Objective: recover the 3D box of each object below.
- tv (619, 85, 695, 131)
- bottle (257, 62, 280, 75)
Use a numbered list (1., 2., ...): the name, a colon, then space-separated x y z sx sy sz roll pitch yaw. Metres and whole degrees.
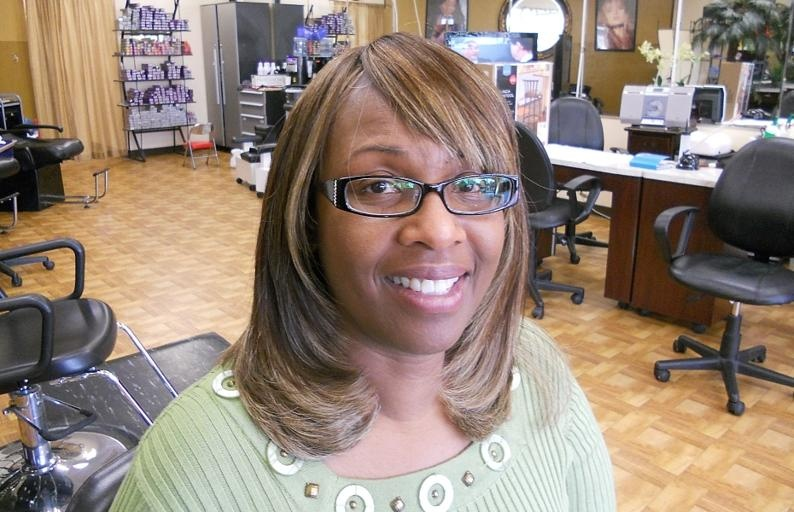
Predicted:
1. tv: 2.234 -1.288 4.640 0.610 0.334 0.194 17 28 39
2. bottle: -2.089 -3.040 8.719 0.292 0.182 0.282 0 18 0
